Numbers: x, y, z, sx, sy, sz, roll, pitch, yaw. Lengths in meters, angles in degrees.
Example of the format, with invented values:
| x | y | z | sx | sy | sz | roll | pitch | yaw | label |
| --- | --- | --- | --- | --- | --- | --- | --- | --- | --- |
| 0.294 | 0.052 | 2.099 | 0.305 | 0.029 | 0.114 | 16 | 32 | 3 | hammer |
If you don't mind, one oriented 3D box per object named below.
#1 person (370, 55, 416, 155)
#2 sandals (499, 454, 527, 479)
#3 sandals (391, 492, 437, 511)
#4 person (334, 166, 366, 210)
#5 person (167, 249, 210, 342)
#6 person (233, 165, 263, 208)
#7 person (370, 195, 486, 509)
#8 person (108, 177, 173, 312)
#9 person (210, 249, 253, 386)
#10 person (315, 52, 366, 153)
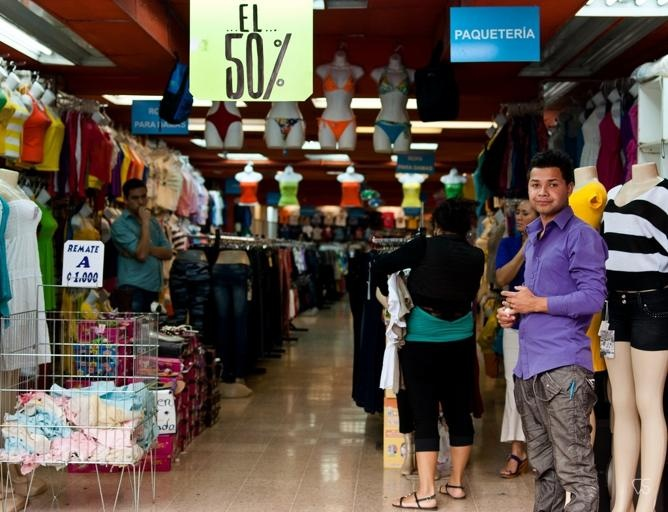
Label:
| x | y | z | sx | sy | sz | roll | pitch | yaw | label |
| --- | --- | --- | --- | --- | --- | --- | --- | --- | --- |
| 0.587 | -1.551 | 6.772 | 0.416 | 0.954 | 0.456 | -1 | -1 | 4 | person |
| 1.292 | 1.515 | 4.889 | 0.092 | 0.112 | 0.266 | -2 | -6 | 32 | sandals |
| 0.528 | 1.570 | 4.377 | 0.226 | 0.104 | 0.120 | 2 | -7 | 22 | sandals |
| 0.282 | -1.212 | 11.577 | 0.430 | 0.763 | 0.267 | -1 | 39 | -1 | person |
| -1.439 | 0.342 | 6.800 | 0.382 | 0.801 | 0.285 | -2 | -2 | 23 | person |
| -1.529 | -1.342 | 12.292 | 0.453 | 0.897 | 2.229 | -1 | -2 | -7 | person |
| 0.637 | 0.623 | 4.366 | 0.656 | 1.981 | 0.345 | -1 | -1 | -7 | person |
| -1.765 | -0.103 | 6.337 | 0.348 | 1.220 | 0.536 | -2 | -2 | 24 | person |
| -1.039 | 0.687 | 6.975 | 0.392 | 1.491 | 0.339 | -1 | -1 | 8 | person |
| 0.064 | -1.568 | 6.795 | 0.465 | 0.937 | 0.455 | -1 | -1 | -2 | person |
